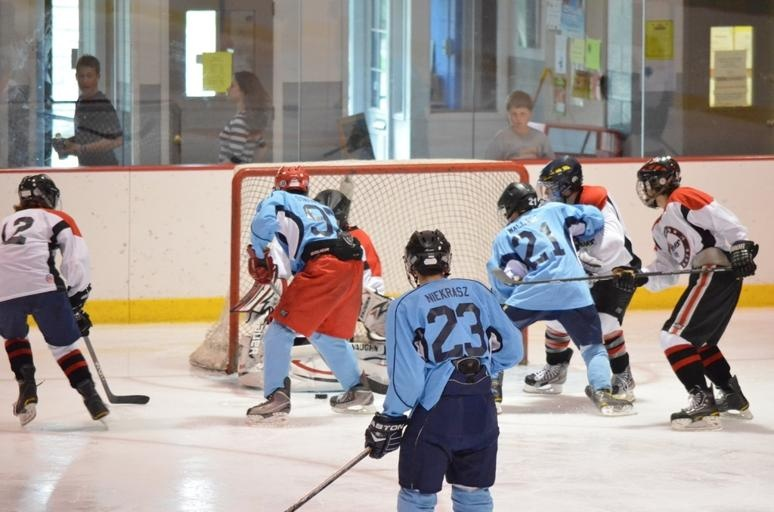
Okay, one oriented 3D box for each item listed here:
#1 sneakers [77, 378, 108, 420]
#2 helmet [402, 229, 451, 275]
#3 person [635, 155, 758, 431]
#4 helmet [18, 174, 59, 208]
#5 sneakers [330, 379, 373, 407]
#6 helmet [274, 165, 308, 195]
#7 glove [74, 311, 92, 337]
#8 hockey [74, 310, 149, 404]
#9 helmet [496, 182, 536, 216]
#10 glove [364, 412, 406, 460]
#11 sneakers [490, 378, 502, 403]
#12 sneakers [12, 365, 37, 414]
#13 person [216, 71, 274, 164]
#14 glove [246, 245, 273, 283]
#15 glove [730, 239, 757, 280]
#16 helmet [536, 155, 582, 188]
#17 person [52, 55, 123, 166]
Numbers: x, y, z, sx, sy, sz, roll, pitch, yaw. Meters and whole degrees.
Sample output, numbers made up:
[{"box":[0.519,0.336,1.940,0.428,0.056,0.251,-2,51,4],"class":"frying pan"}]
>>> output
[{"box":[-2.028,0.987,7.358,0.097,0.283,0.126,-37,-22,1],"class":"sneakers"},{"box":[0.228,-0.015,5.965,0.238,0.247,0.273,1,1,1],"class":"helmet"},{"box":[2.120,0.334,7.161,0.683,1.545,0.594,-1,15,1],"class":"person"},{"box":[-2.475,-0.462,7.500,0.292,0.244,0.215,3,13,-38],"class":"helmet"},{"box":[-0.213,0.957,7.495,0.385,0.157,0.128,-4,32,13],"class":"sneakers"},{"box":[-0.670,-0.541,7.553,0.207,0.195,0.213,0,13,-11],"class":"helmet"},{"box":[-2.113,0.469,7.451,0.081,0.208,0.102,-18,-5,-17],"class":"glove"},{"box":[-1.947,0.683,7.535,0.308,0.940,0.129,-7,34,1],"class":"hockey"},{"box":[0.918,-0.391,7.509,0.214,0.240,0.276,-5,12,-39],"class":"helmet"},{"box":[-0.011,0.961,5.747,0.279,0.232,0.200,4,-1,5],"class":"glove"},{"box":[0.781,0.924,7.451,0.130,0.140,0.358,-1,-14,8],"class":"sneakers"},{"box":[-2.469,0.925,7.281,0.165,0.332,0.247,-6,15,-19],"class":"sneakers"},{"box":[-1.354,-1.316,10.127,0.512,0.851,0.160,-3,15,-8],"class":"person"},{"box":[-0.873,0.055,7.396,0.200,0.231,0.121,-2,4,9],"class":"glove"},{"box":[2.360,0.008,7.068,0.172,0.243,0.222,3,15,16],"class":"glove"},{"box":[1.272,-0.622,7.852,0.294,0.203,0.210,2,-3,-2],"class":"helmet"},{"box":[-2.785,-1.344,9.892,0.640,1.004,0.177,-4,15,-13],"class":"person"}]
